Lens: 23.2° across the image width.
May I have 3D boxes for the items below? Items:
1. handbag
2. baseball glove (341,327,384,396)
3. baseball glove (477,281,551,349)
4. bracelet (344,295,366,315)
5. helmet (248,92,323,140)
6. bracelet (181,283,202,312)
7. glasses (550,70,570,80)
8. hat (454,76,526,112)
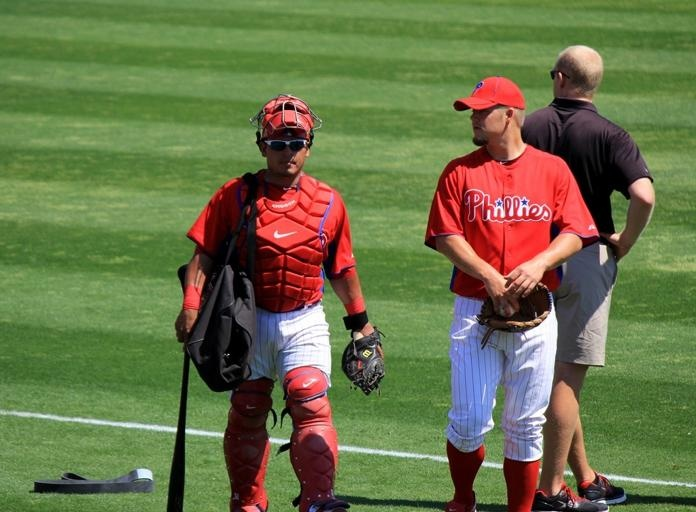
[{"bbox_3d":[-1.028,0.584,13.987,0.538,1.051,0.183,0,2,-5],"label":"handbag"},{"bbox_3d":[0.115,0.884,14.422,0.421,0.533,0.249,-16,39,-32],"label":"baseball glove"},{"bbox_3d":[1.407,0.468,13.999,0.621,0.267,0.476,-22,17,3],"label":"baseball glove"},{"bbox_3d":[0.067,0.421,14.462,0.169,0.121,0.162,-9,-3,-31],"label":"bracelet"},{"bbox_3d":[-0.516,-1.179,14.297,0.465,0.229,0.463,1,15,-2],"label":"helmet"},{"bbox_3d":[-1.278,0.346,14.109,0.215,0.246,0.161,14,-24,-42],"label":"bracelet"},{"bbox_3d":[1.831,-1.603,14.601,0.142,0.042,0.130,14,2,-14],"label":"glasses"},{"bbox_3d":[1.185,-1.361,14.134,0.496,0.227,0.302,3,5,-2],"label":"hat"}]
